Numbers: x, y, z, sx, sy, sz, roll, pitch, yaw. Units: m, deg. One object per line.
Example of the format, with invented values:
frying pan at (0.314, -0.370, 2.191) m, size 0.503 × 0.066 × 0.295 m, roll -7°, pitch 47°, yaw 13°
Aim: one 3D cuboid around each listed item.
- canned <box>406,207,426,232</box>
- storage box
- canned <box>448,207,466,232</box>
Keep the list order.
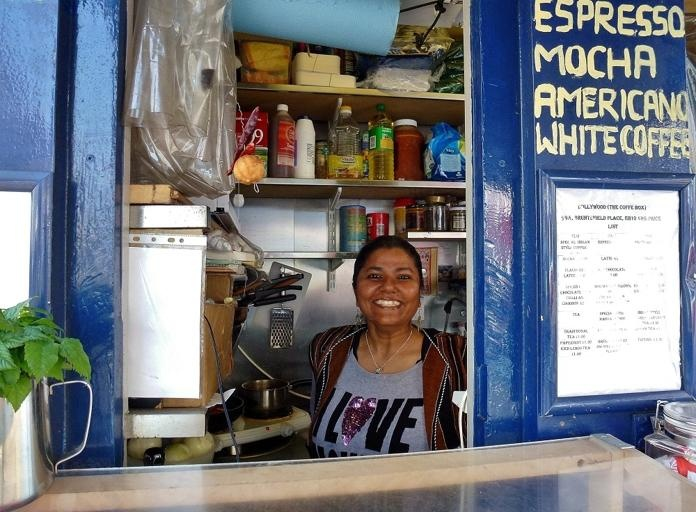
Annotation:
canned at (0.308, -0.167, 3.048) m, size 0.103 × 0.104 × 0.101 m, roll -1°, pitch -3°, yaw 12°
storage box at (-0.410, 0.225, 1.773) m, size 0.122 × 0.311 × 0.333 m, roll 2°, pitch -25°, yaw -4°
canned at (0.484, -0.166, 2.952) m, size 0.100 × 0.105 × 0.098 m, roll 0°, pitch -1°, yaw 7°
